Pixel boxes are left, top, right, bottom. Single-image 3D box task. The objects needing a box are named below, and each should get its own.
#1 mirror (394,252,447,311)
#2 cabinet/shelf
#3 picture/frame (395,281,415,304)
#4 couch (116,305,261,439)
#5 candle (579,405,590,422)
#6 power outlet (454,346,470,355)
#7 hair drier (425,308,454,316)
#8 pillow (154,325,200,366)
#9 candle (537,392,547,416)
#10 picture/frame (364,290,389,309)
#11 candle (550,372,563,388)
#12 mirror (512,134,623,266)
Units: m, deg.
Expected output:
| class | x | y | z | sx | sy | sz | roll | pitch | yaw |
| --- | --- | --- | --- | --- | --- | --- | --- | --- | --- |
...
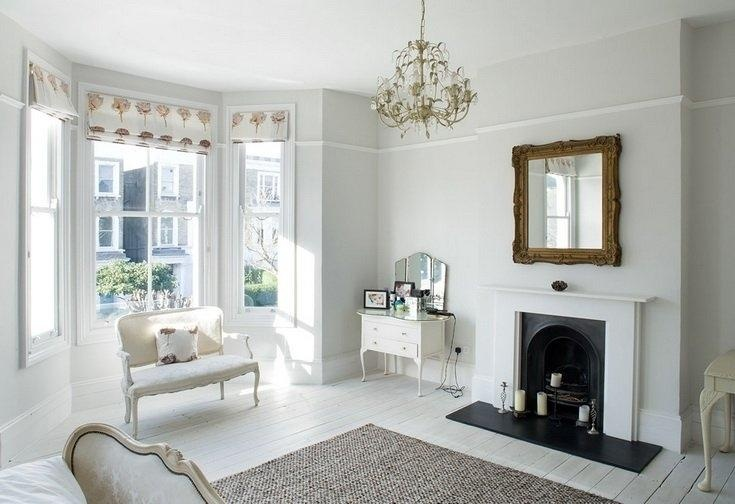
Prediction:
| class | x | y | z | sx | sy | sz | roll | pitch | yaw |
| --- | --- | --- | --- | --- | --- | --- | --- | --- | --- |
| mirror | 0.686 | 0.355 | 6.973 | 0.683 | 0.793 | 0.031 | 3 | 31 | 10 |
| cabinet/shelf | 0.454 | 1.229 | 6.799 | 1.121 | 0.877 | 0.787 | 2 | 2 | 37 |
| picture/frame | 0.496 | 0.531 | 6.873 | 0.236 | 0.244 | 0.086 | -3 | -19 | 27 |
| couch | -2.033 | 1.226 | 5.966 | 1.412 | 1.084 | 1.113 | -6 | 12 | -32 |
| candle | 2.216 | 1.643 | 5.400 | 0.135 | 0.158 | 0.138 | 0 | -4 | 5 |
| power outlet | 1.195 | 1.222 | 6.613 | 0.109 | 0.113 | 0.026 | 5 | -7 | 2 |
| hair drier | 0.910 | 0.762 | 6.677 | 0.224 | 0.058 | 0.134 | 1 | 0 | 20 |
| pillow | -2.137 | 1.045 | 5.883 | 0.420 | 0.396 | 0.157 | 3 | -26 | -28 |
| candle | 1.881 | 1.610 | 5.686 | 0.114 | 0.251 | 0.164 | 3 | 11 | 18 |
| picture/frame | 0.113 | 0.612 | 6.968 | 0.333 | 0.224 | 0.217 | 0 | 10 | 0 |
| candle | 1.985 | 1.344 | 5.563 | 0.115 | 0.131 | 0.133 | 0 | -2 | 0 |
| mirror | 2.119 | -0.542 | 5.466 | 1.350 | 1.676 | 0.184 | 0 | 0 | 38 |
